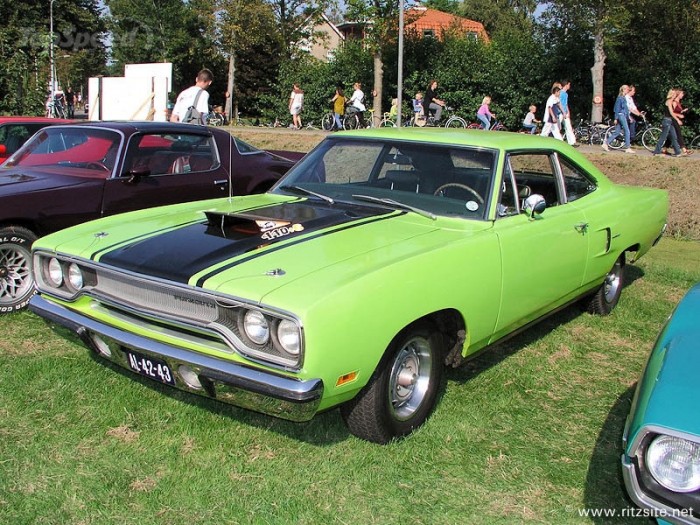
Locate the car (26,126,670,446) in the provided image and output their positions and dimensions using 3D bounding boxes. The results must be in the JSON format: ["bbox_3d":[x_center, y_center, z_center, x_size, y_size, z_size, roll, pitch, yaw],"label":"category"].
[{"bbox_3d":[0.126,-0.053,3.856,4.053,2.005,1.990,-8,16,-38],"label":"car"}]

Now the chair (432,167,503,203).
[{"bbox_3d":[0.888,-0.596,3.818,0.298,0.139,0.373,6,28,20],"label":"chair"}]
